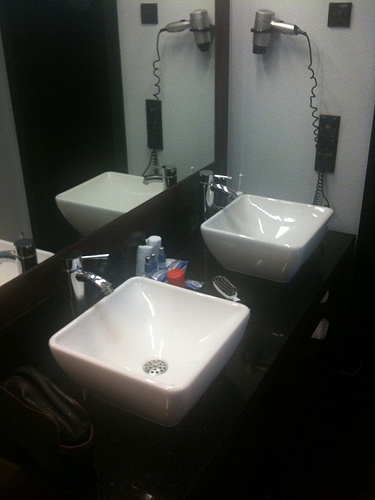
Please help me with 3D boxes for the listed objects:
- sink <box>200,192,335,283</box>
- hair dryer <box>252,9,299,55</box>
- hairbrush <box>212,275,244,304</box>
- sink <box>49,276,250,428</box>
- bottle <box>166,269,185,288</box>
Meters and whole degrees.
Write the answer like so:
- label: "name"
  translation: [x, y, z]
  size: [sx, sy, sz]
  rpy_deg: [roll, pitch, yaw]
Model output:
- label: "sink"
  translation: [0.315, -0.064, 1.613]
  size: [0.420, 0.193, 0.477]
  rpy_deg: [17, 32, 27]
- label: "hair dryer"
  translation: [0.365, -0.900, 1.651]
  size: [0.191, 0.170, 0.108]
  rpy_deg: [11, 29, 20]
- label: "hairbrush"
  translation: [0.137, 0.130, 1.375]
  size: [0.043, 0.031, 0.149]
  rpy_deg: [-13, 35, -23]
- label: "sink"
  translation: [-0.073, 0.228, 0.999]
  size: [0.334, 0.155, 0.364]
  rpy_deg: [16, 35, 23]
- label: "bottle"
  translation: [-0.040, 0.088, 1.281]
  size: [0.051, 0.059, 0.055]
  rpy_deg: [3, 37, 4]
